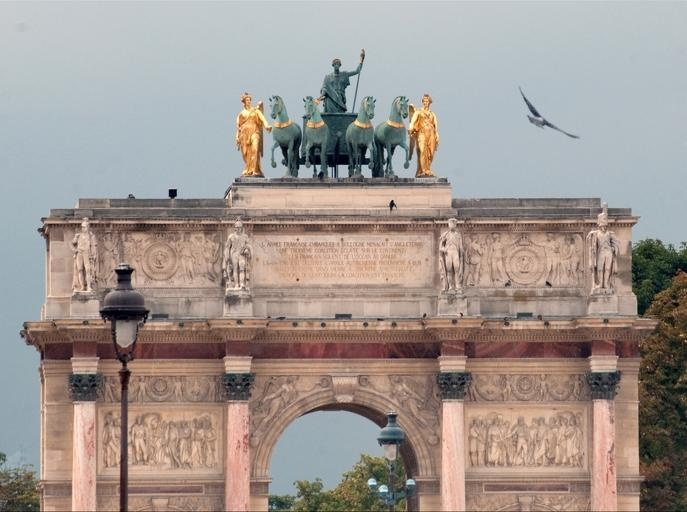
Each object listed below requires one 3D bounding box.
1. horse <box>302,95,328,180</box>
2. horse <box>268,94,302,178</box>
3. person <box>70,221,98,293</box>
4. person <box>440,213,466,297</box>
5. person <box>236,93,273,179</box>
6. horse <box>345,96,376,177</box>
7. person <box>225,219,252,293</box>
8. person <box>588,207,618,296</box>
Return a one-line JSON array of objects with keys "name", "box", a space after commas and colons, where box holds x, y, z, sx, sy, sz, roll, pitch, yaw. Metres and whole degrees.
[{"name": "horse", "box": [-1.217, -5.263, 127.135, 1.229, 4.178, 2.053, -1, -18, -1]}, {"name": "horse", "box": [-2.584, -5.262, 127.776, 1.013, 3.667, 4.254, 0, -4, 14]}, {"name": "person", "box": [-11.584, 0.087, 123.767, 1.088, 3.151, 1.058, 1, -18, -5]}, {"name": "person", "box": [4.907, 0.035, 124.085, 1.034, 3.186, 0.997, -1, -18, -1]}, {"name": "person", "box": [-4.166, -5.354, 126.272, 1.378, 3.886, 0.844, -10, -20, 25]}, {"name": "horse", "box": [0.829, -5.266, 127.631, 1.063, 3.534, 4.421, 1, -6, -13]}, {"name": "person", "box": [-4.716, 0.110, 123.847, 1.111, 3.085, 1.007, -1, -18, 0]}, {"name": "person", "box": [11.762, 0.033, 124.364, 1.263, 3.329, 1.007, -2, -18, 3]}]
